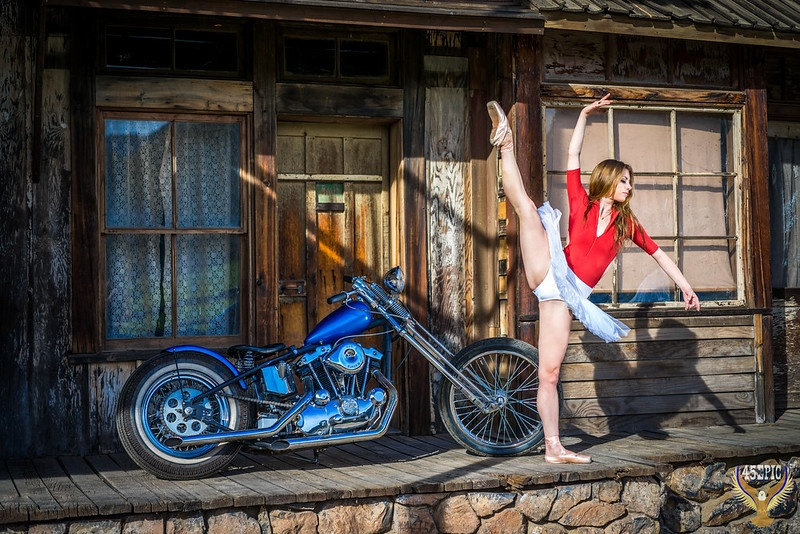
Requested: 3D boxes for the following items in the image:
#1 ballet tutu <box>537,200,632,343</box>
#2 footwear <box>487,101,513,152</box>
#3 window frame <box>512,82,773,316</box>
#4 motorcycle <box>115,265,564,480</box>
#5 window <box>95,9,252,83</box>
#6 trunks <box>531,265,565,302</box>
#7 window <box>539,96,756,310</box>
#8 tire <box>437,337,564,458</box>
[{"bbox_3d":[1.474,0.143,8.152,0.503,1.468,0.359,-17,-7,-32],"label":"ballet tutu"},{"bbox_3d":[0.791,-1.102,7.894,0.174,0.503,0.140,-4,-9,-45],"label":"footwear"},{"bbox_3d":[2.144,-0.601,8.954,1.812,1.655,0.151,0,-4,-11],"label":"window frame"},{"bbox_3d":[-0.480,0.729,8.919,3.938,2.264,1.571,-3,-2,-9],"label":"motorcycle"},{"bbox_3d":[-2.025,-1.945,8.744,1.246,0.464,0.048,-2,0,-10],"label":"window"},{"bbox_3d":[1.210,0.106,8.111,0.186,0.413,0.286,-1,2,-17],"label":"trunks"},{"bbox_3d":[2.201,-0.573,8.955,1.646,1.738,0.173,0,-4,-12],"label":"window"},{"bbox_3d":[0.885,1.122,8.438,0.828,1.008,0.166,1,-6,-15],"label":"tire"}]
